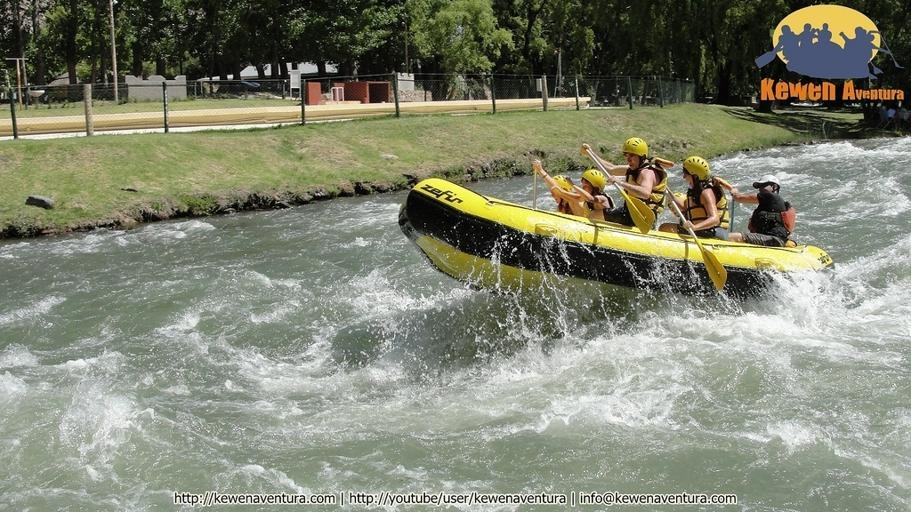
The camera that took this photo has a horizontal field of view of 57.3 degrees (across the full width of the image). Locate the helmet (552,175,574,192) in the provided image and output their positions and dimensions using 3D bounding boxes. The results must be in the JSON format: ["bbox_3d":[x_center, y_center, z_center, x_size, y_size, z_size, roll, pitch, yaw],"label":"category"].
[{"bbox_3d":[2.467,-1.639,18.950,0.342,0.408,0.446,36,25,-5],"label":"helmet"}]

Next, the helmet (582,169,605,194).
[{"bbox_3d":[3.112,-1.683,18.753,0.470,0.559,0.410,-17,4,-12],"label":"helmet"}]

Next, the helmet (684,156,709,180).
[{"bbox_3d":[5.443,-1.936,18.870,0.599,0.509,0.337,-2,10,-10],"label":"helmet"}]

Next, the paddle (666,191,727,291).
[{"bbox_3d":[5.369,-0.242,18.522,0.201,0.409,2.800,24,30,-53],"label":"paddle"}]
